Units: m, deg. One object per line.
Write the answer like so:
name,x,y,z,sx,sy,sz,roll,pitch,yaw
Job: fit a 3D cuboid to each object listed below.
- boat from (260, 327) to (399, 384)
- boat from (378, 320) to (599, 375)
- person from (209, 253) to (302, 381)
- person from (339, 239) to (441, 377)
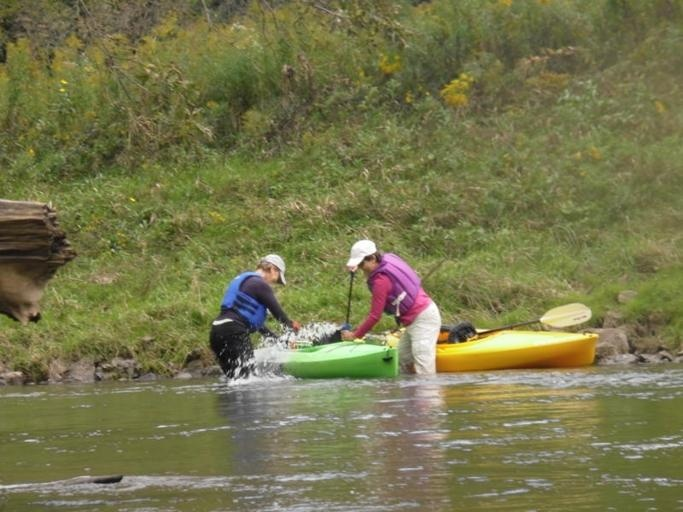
boat,-0.189,1.736,22.413,2.660,0.554,0.839,-2,0,15
boat,2.585,1.793,23.005,3.913,0.647,1.205,-2,3,2
person,-1.583,1.025,22.101,1.382,2.062,0.728,-5,-1,-6
person,0.928,0.887,22.334,1.479,2.335,0.725,-5,0,-5
